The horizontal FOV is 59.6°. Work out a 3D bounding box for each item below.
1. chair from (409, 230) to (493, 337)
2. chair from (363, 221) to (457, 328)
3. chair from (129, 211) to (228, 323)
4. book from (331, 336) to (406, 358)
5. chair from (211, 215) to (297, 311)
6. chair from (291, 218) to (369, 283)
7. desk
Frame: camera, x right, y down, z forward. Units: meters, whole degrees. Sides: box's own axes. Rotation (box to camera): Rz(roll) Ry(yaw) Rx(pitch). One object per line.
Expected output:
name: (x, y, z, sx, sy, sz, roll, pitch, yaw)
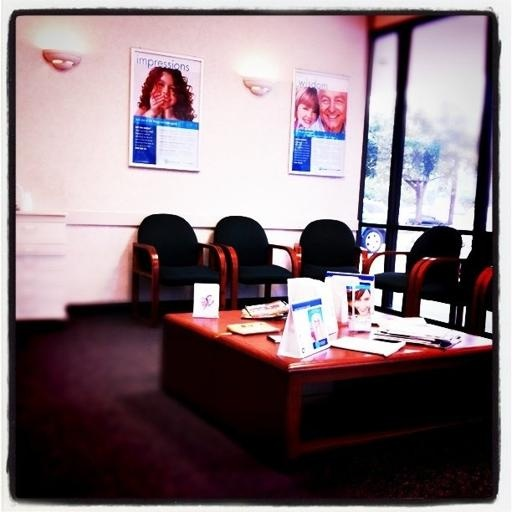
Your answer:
chair: (1.285, 0.228, 3.130, 0.424, 0.882, 0.463, 7, 5, 4)
chair: (1.156, 0.199, 3.280, 0.487, 0.975, 0.635, 3, 4, -16)
chair: (-0.473, 0.060, 3.210, 0.589, 0.939, 0.729, 0, 0, -26)
book: (0.397, 0.313, 1.597, 0.235, 0.015, 0.235, 4, 5, 40)
chair: (-0.028, 0.050, 3.439, 0.482, 0.796, 0.619, -1, 3, -20)
chair: (0.598, -0.077, 3.702, 0.433, 0.723, 0.465, 0, 3, -7)
desk: (0.264, 0.459, 1.752, 1.292, 0.377, 0.821, 0, 4, -10)
